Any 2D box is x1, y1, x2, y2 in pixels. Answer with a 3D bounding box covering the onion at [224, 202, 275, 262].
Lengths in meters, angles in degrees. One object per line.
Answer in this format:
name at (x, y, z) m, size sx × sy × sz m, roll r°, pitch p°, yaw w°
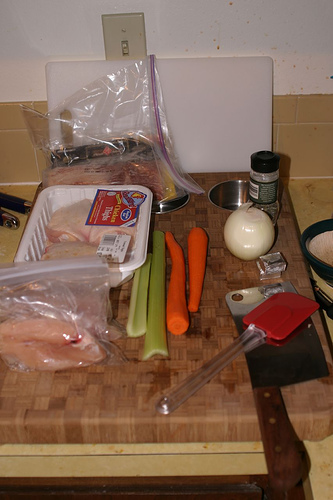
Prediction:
onion at (0.148, -0.033, 0.762) m, size 0.103 × 0.095 × 0.108 m, roll -12°, pitch 32°, yaw -19°
